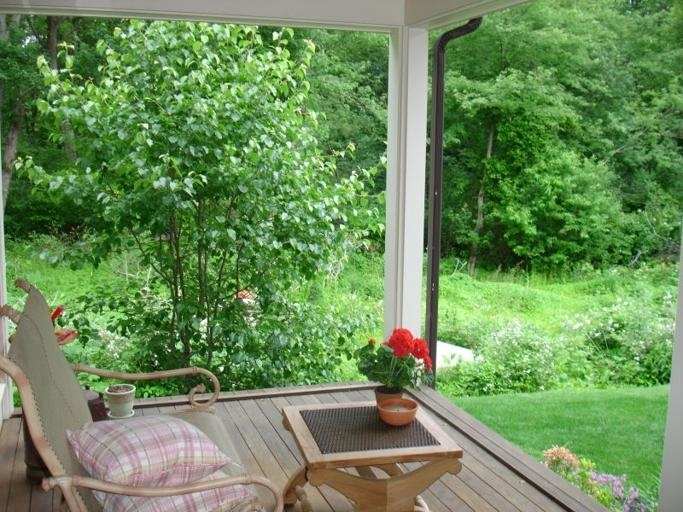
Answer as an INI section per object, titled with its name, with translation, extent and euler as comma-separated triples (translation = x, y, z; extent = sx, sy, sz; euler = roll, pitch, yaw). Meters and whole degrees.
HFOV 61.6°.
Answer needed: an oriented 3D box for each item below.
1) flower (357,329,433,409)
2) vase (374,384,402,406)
[flower]
translation = 0.303, 0.622, 3.295
extent = 0.422, 0.411, 0.258
euler = 3, 2, 2
[vase]
translation = 0.260, 0.782, 3.247
extent = 0.103, 0.081, 0.105
euler = 1, 2, 21
